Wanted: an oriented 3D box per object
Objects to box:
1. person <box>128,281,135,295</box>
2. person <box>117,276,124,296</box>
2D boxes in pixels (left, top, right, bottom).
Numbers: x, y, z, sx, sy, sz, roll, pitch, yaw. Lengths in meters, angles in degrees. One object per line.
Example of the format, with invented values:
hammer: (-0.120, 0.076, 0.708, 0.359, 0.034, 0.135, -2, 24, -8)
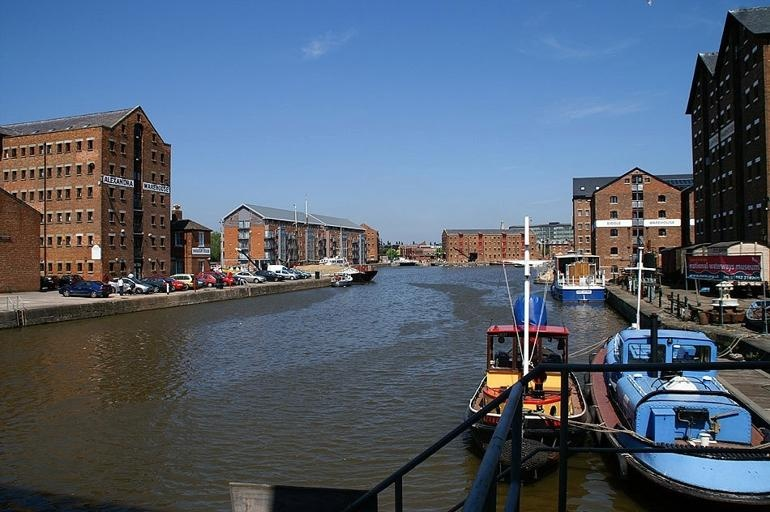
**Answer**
person: (-22.408, 2.903, 60.147, 0.350, 0.890, 0.692, 2, 1, 22)
person: (-22.801, 2.724, 59.022, 0.512, 1.279, 1.622, -2, 6, -18)
